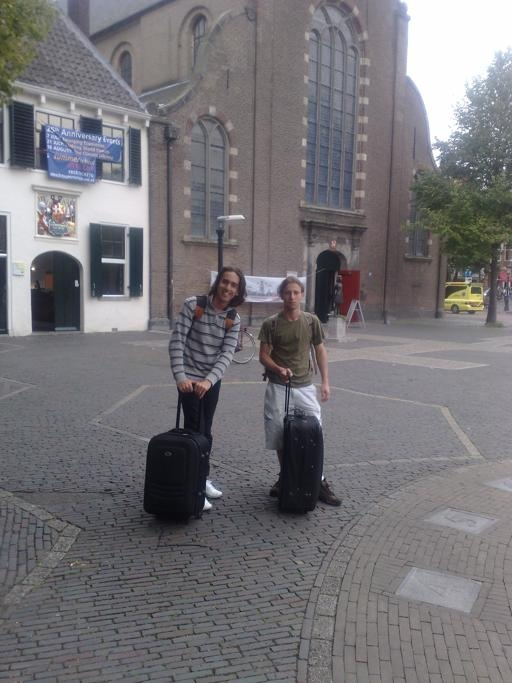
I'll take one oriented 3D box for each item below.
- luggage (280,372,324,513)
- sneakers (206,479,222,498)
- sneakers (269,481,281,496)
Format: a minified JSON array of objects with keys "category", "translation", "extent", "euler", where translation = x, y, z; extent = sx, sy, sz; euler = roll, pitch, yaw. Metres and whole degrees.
[{"category":"luggage","translation":[0.302,0.752,4.625],"extent":[0.296,0.866,0.385],"euler":[0,7,-1]},{"category":"sneakers","translation":[-0.317,1.076,4.953],"extent":[0.068,0.096,0.191],"euler":[-2,6,-36]},{"category":"sneakers","translation":[0.142,1.087,4.959],"extent":[0.052,0.080,0.173],"euler":[-1,-5,7]}]
